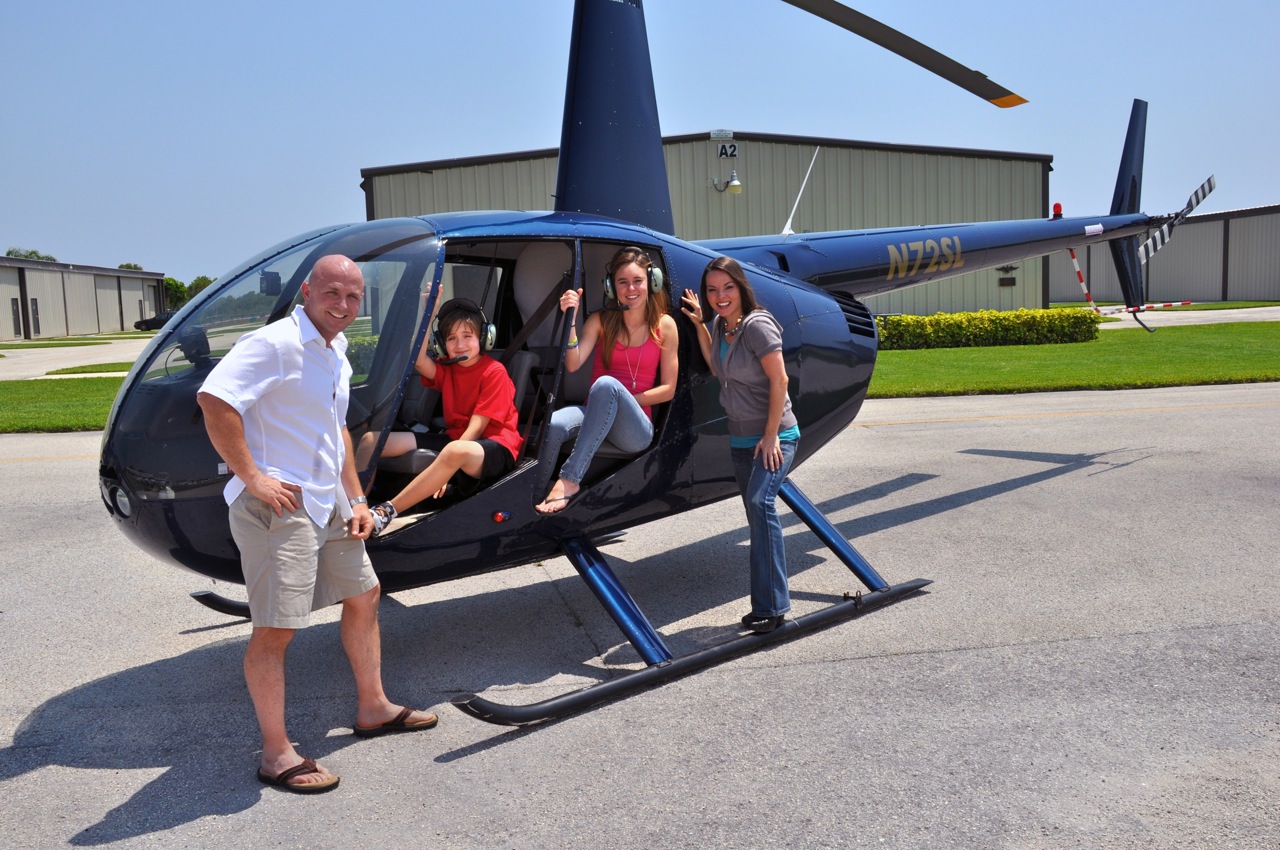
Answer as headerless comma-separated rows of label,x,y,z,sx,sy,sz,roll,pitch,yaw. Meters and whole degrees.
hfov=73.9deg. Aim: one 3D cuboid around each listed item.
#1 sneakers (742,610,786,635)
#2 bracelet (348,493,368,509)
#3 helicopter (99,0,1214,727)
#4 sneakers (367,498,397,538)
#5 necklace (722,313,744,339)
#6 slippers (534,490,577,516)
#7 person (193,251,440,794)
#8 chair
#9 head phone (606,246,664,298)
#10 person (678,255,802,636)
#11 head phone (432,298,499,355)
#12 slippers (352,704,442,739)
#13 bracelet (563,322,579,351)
sneakers,0.725,1.145,5.007,0.154,0.063,0.180,4,1,-2
bracelet,-1.338,0.350,4.037,0.067,0.044,0.071,-6,-4,19
helicopter,-0.052,-0.447,6.219,6.195,2.967,5.240,-5,4,-31
sneakers,-1.289,0.456,4.295,0.079,0.100,0.229,25,7,0
necklace,0.535,-0.588,4.999,0.108,0.138,0.051,6,40,21
slippers,-0.475,0.423,4.809,0.205,0.079,0.113,-18,4,-40
person,-1.490,0.432,3.850,0.434,2.317,0.756,10,19,39
chair,-1.029,-0.083,4.833,0.444,0.657,0.699,-6,-9,44
head phone,-0.038,-0.894,4.990,0.338,0.289,0.136,4,-29,-24
person,0.655,0.128,5.090,0.523,2.200,0.811,-5,15,-13
head phone,-1.026,-0.577,4.899,0.356,0.304,0.133,-4,-2,-13
slippers,-1.208,1.471,4.233,0.390,0.110,0.151,-5,5,-17
bracelet,-0.396,-0.510,4.909,0.078,0.125,0.126,-1,-7,2
